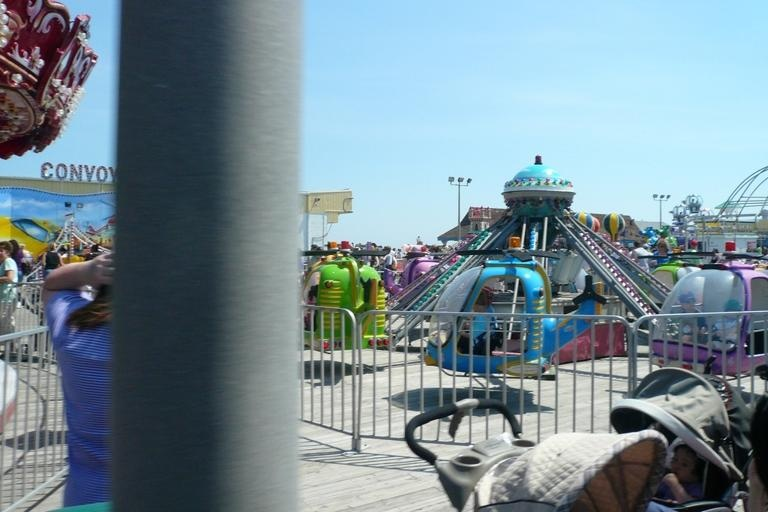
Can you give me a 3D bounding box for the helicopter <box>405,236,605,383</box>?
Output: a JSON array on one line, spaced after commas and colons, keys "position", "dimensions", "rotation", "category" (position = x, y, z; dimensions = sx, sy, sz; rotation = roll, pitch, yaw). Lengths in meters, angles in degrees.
[{"position": [1.473, 0.715, 11.129], "dimensions": [2.376, 1.248, 1.580], "rotation": [2, 0, 9], "category": "helicopter"}]
